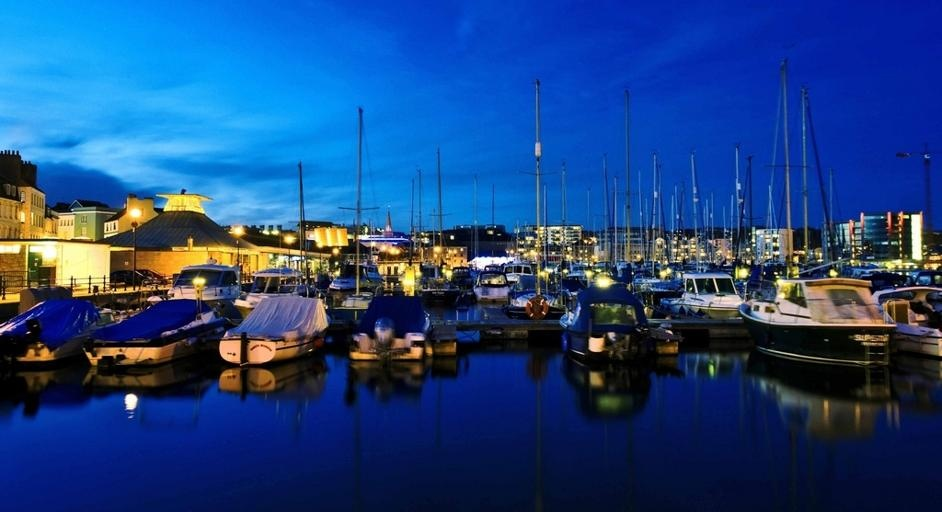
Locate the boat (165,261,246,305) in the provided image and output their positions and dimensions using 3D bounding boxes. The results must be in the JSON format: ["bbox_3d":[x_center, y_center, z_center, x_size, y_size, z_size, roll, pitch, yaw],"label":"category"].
[{"bbox_3d":[-17.886,1.834,60.257,2.769,2.347,6.124,0,0,-7],"label":"boat"}]

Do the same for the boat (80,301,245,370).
[{"bbox_3d":[-17.297,4.334,54.588,12.125,4.200,5.294,-3,-2,11],"label":"boat"}]
